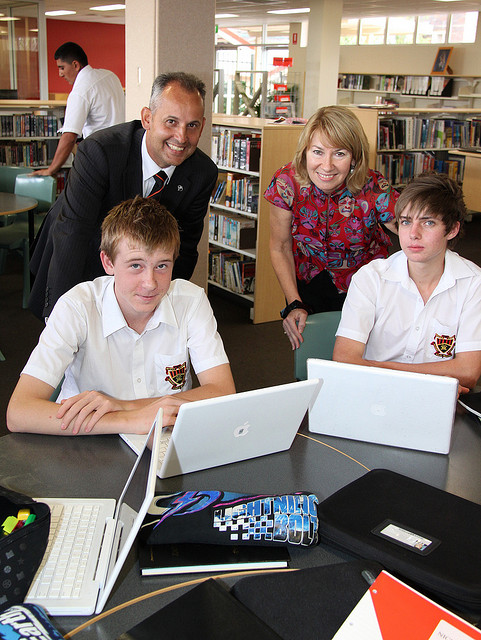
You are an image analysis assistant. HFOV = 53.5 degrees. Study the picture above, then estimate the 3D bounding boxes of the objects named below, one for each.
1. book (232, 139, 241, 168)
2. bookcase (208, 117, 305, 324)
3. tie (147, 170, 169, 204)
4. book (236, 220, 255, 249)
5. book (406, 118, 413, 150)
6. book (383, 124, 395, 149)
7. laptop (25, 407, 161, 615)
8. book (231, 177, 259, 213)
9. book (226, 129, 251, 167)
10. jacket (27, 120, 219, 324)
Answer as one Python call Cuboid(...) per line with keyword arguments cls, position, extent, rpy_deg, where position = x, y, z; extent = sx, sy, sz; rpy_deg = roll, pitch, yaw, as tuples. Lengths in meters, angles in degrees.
Cuboid(cls="book", position=(-0.040, -1.589, 4.536), extent=(0.032, 0.250, 0.157), rpy_deg=(-4, 10, -22))
Cuboid(cls="bookcase", position=(0.218, -0.981, 4.529), extent=(0.482, 1.981, 1.004), rpy_deg=(-5, 11, -27))
Cuboid(cls="tie", position=(-0.379, -0.554, 2.080), extent=(0.045, 0.194, 0.053), rpy_deg=(40, 27, 19))
Cuboid(cls="book", position=(0.038, -0.850, 4.633), extent=(0.117, 0.225, 0.253), rpy_deg=(5, 9, 25))
Cuboid(cls="book", position=(2.442, -2.700, 6.902), extent=(0.053, 0.404, 0.251), rpy_deg=(8, 12, 40))
Cuboid(cls="book", position=(2.045, -2.574, 6.622), extent=(0.160, 0.285, 0.287), rpy_deg=(-5, 24, -6))
Cuboid(cls="laptop", position=(-0.225, 0.297, 0.757), extent=(0.251, 0.162, 0.267), rpy_deg=(1, 22, 1))
Cuboid(cls="book", position=(0.047, -1.199, 4.535), extent=(0.336, 0.318, 0.243), rpy_deg=(11, 30, 16))
Cuboid(cls="book", position=(-0.023, -1.641, 4.551), extent=(0.060, 0.405, 0.364), rpy_deg=(-7, 23, -31))
Cuboid(cls="jacket", position=(-0.543, -0.461, 2.154), extent=(0.549, 0.866, 0.708), rpy_deg=(8, 13, 41))
